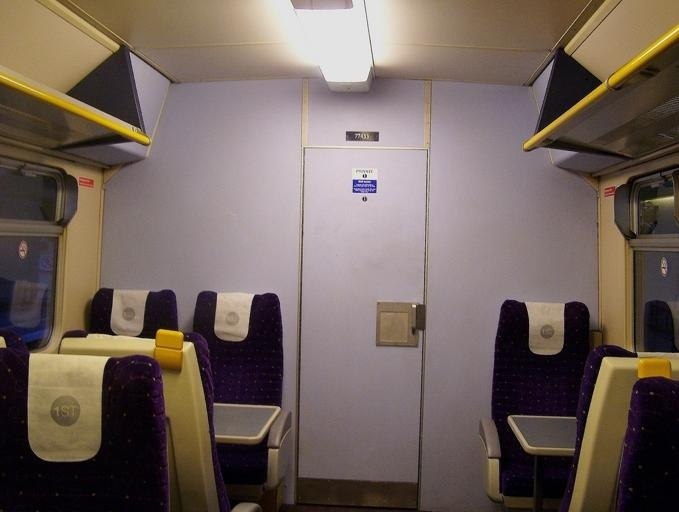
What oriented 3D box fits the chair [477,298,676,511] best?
[{"bbox_3d":[1.315,0.901,3.441,0.499,1.027,1.029,3,-1,40],"label":"chair"}]
